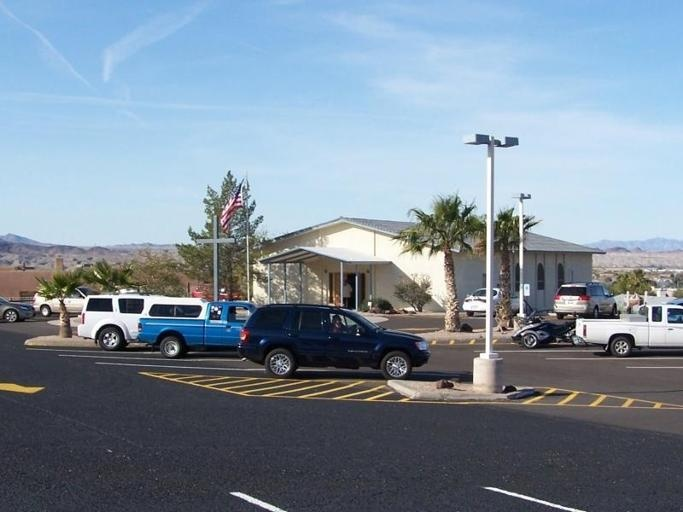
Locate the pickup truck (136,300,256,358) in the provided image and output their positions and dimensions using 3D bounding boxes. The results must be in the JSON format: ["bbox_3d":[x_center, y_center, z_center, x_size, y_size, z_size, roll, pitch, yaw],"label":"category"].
[{"bbox_3d":[-4.836,2.445,25.952,3.347,1.352,1.834,-2,-1,8],"label":"pickup truck"}]

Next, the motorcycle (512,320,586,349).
[{"bbox_3d":[7.777,3.078,30.303,3.235,1.370,1.115,1,-2,-10],"label":"motorcycle"}]

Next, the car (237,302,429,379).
[{"bbox_3d":[-0.277,2.523,22.087,4.717,1.940,2.223,-1,-1,5],"label":"car"}]

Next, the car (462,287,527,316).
[{"bbox_3d":[8.155,2.672,44.507,2.913,1.861,4.324,-2,-3,20],"label":"car"}]
